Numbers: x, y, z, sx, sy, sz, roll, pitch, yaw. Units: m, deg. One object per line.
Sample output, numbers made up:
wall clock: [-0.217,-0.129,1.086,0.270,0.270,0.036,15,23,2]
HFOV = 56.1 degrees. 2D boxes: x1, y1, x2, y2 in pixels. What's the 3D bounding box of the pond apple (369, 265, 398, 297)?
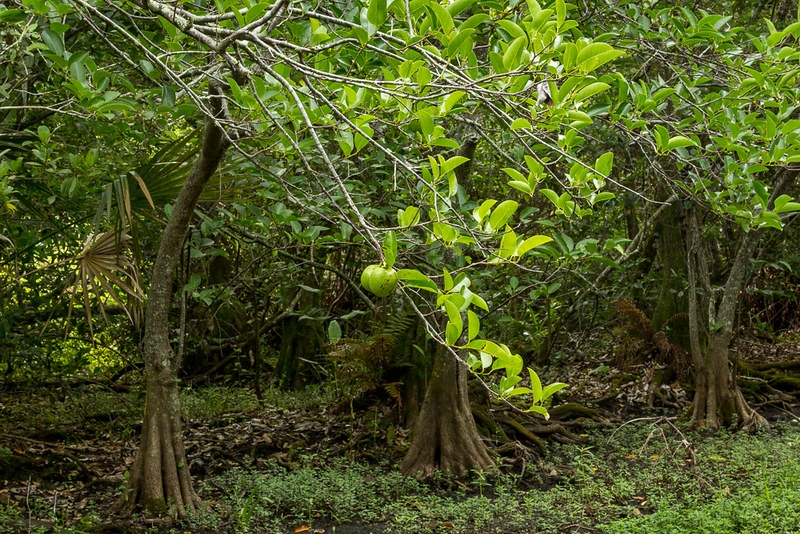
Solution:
pond apple: [-0.105,0.087,4.332,0.162,0.161,0.161,-6,-31,-29]
